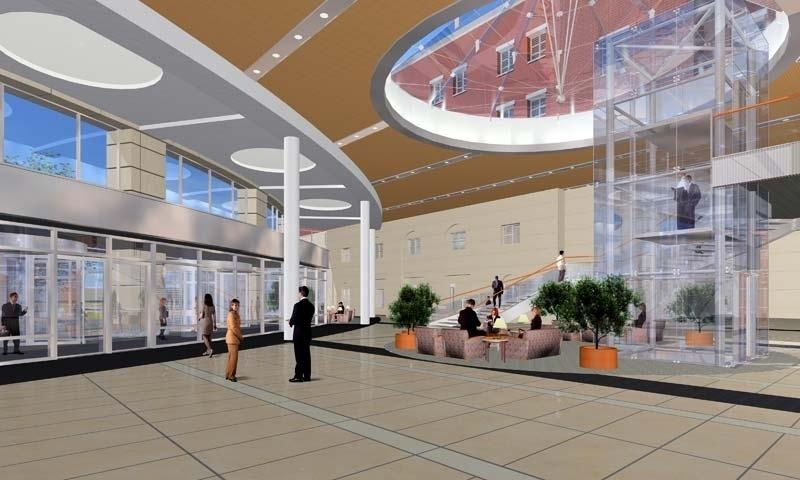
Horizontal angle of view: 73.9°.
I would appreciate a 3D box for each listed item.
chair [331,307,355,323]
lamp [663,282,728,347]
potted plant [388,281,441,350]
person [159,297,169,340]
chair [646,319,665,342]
[{"bbox_3d":[-4.215,5.426,38.288,1.380,0.759,1.715,-2,-11,6],"label":"chair"},{"bbox_3d":[10.091,2.459,18.097,0.718,2.318,1.590,-6,9,-33],"label":"lamp"},{"bbox_3d":[0.332,3.121,22.767,2.346,3.100,2.563,1,-1,-43],"label":"potted plant"},{"bbox_3d":[-9.835,3.214,21.994,0.452,1.766,0.309,-6,9,-35],"label":"person"},{"bbox_3d":[9.112,3.162,18.619,0.356,0.740,0.289,2,8,22],"label":"chair"}]
